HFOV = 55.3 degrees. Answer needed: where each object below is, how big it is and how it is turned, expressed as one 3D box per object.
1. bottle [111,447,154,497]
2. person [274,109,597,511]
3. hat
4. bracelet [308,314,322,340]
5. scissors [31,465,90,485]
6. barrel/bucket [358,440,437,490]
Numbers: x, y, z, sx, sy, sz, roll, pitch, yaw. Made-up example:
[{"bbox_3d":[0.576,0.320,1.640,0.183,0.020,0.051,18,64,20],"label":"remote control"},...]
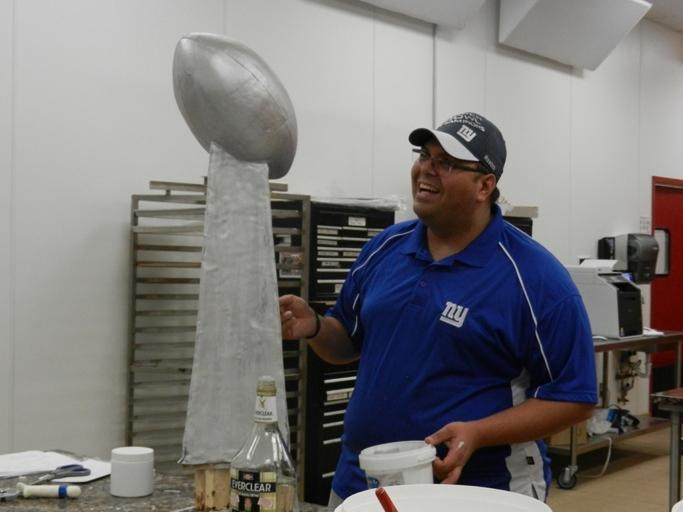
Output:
[{"bbox_3d":[-0.633,0.655,2.039,0.129,0.136,0.132,-2,-5,44],"label":"bottle"},{"bbox_3d":[0.309,0.185,2.158,0.944,1.335,0.516,-1,-2,36],"label":"person"},{"bbox_3d":[0.392,-0.389,2.154,0.272,0.144,0.192,32,6,-31],"label":"hat"},{"bbox_3d":[-0.089,0.250,2.301,0.027,0.082,0.057,10,6,-8],"label":"bracelet"},{"bbox_3d":[-0.919,0.715,2.141,0.121,0.022,0.063,-14,12,-42],"label":"scissors"},{"bbox_3d":[0.158,0.547,1.797,0.143,0.106,0.149,-2,-12,0],"label":"barrel/bucket"}]
